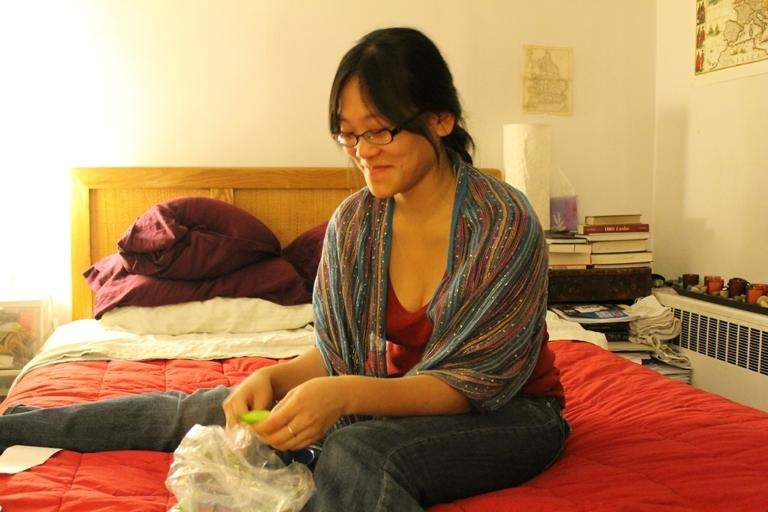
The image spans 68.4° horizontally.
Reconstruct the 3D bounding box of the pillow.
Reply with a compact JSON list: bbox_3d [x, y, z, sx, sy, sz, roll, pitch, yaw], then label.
[{"bbox_3d":[-0.777,-0.028,2.616,0.904,0.264,0.652,-4,11,-15],"label":"pillow"}]

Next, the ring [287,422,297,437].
[{"bbox_3d":[-0.206,0.385,1.249,0.018,0.026,0.007,-3,7,-5],"label":"ring"}]

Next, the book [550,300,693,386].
[{"bbox_3d":[1.220,0.396,2.837,0.577,0.187,0.543,-1,9,0],"label":"book"}]
